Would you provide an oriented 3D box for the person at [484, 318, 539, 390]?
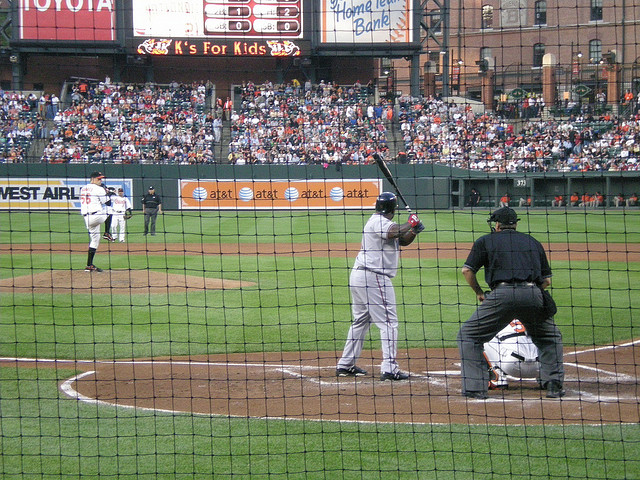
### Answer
[{"bbox_3d":[5.357,3.174,43.507,1.850,1.809,0.804,2,-9,-3],"label":"person"}]
